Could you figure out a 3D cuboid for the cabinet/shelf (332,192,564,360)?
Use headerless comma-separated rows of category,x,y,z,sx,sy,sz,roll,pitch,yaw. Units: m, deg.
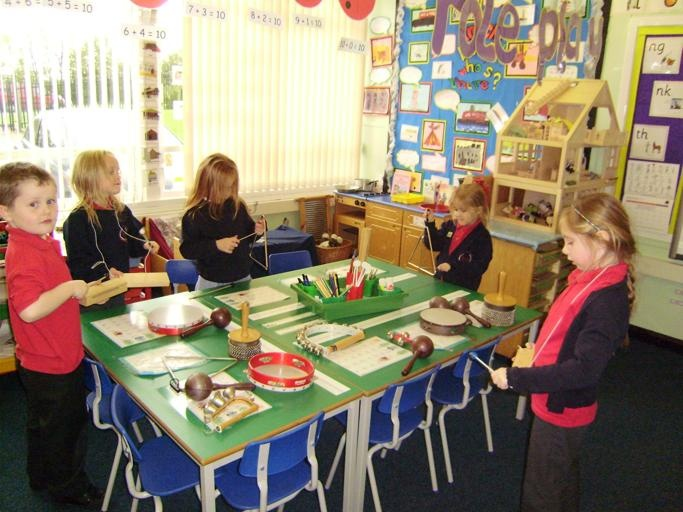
cabinet/shelf,0.780,0.117,3.491,0.311,0.615,1.287,-6,22,-38

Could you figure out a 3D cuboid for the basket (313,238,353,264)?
basket,-0.047,-0.064,5.391,0.304,0.150,0.221,-10,15,-42

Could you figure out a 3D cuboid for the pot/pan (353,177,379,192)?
pot/pan,0.280,-0.769,5.719,0.264,0.106,0.152,-7,12,-43

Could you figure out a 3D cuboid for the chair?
chair,-0.155,0.663,2.924,2.066,0.846,1.400,-13,18,-39
